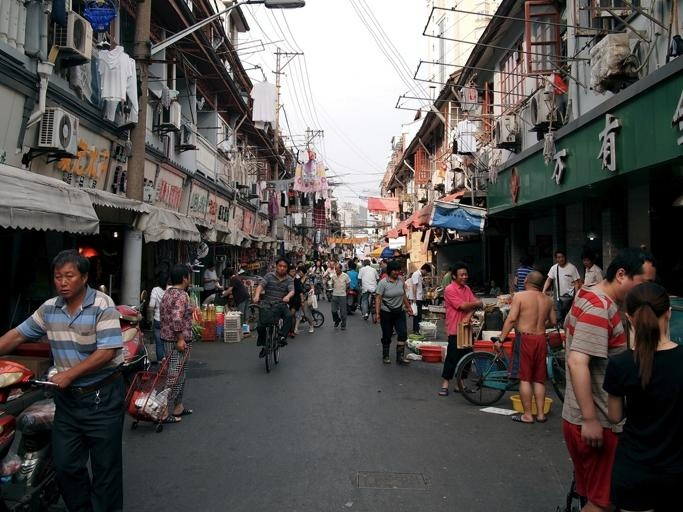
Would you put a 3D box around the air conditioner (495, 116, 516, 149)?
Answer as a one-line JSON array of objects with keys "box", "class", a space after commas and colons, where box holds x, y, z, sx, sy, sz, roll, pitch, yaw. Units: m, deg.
[{"box": [4.941, -3.627, 16.900, 0.405, 0.894, 0.871, -1, -3, 18], "class": "air conditioner"}]

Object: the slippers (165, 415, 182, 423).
[{"box": [-2.265, 2.191, 7.697, 0.149, 0.058, 0.090, -4, 15, -14], "class": "slippers"}]

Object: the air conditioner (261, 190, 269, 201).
[{"box": [-4.556, -3.500, 34.172, 0.477, 0.790, 0.741, 0, -1, 0], "class": "air conditioner"}]

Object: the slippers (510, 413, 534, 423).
[{"box": [2.474, 2.257, 7.918, 0.102, 0.080, 0.235, 2, -1, -44], "class": "slippers"}]

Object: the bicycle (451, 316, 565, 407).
[{"box": [2.584, 1.674, 8.874, 1.731, 1.360, 1.058, -3, -1, 8], "class": "bicycle"}]

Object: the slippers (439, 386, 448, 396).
[{"box": [1.676, 2.220, 9.382, 0.153, 0.111, 0.279, 0, -2, 11], "class": "slippers"}]

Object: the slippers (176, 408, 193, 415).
[{"box": [-2.196, 2.194, 8.042, 0.069, 0.060, 0.177, 1, 1, 41], "class": "slippers"}]

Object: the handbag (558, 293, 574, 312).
[{"box": [5.106, 1.089, 13.043, 0.304, 0.600, 0.545, -3, -6, 16], "class": "handbag"}]

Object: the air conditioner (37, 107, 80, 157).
[{"box": [-5.081, -2.220, 10.379, 0.281, 0.734, 0.789, 4, -1, 0], "class": "air conditioner"}]

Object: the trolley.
[{"box": [-2.413, 1.766, 7.800, 0.605, 0.511, 1.545, 10, 18, 7], "class": "trolley"}]

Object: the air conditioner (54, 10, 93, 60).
[{"box": [-4.929, -4.045, 10.637, 0.245, 0.689, 0.774, 5, 5, 8], "class": "air conditioner"}]

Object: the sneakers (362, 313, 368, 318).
[{"box": [0.875, 2.253, 21.459, 0.135, 0.157, 0.099, -1, -5, 12], "class": "sneakers"}]

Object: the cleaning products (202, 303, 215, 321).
[{"box": [-3.747, 1.608, 16.184, 0.348, 0.577, 0.385, 0, -1, -2], "class": "cleaning products"}]

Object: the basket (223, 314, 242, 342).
[{"box": [-2.975, 1.957, 15.659, 0.579, 0.976, 0.635, 1, 1, 1], "class": "basket"}]
